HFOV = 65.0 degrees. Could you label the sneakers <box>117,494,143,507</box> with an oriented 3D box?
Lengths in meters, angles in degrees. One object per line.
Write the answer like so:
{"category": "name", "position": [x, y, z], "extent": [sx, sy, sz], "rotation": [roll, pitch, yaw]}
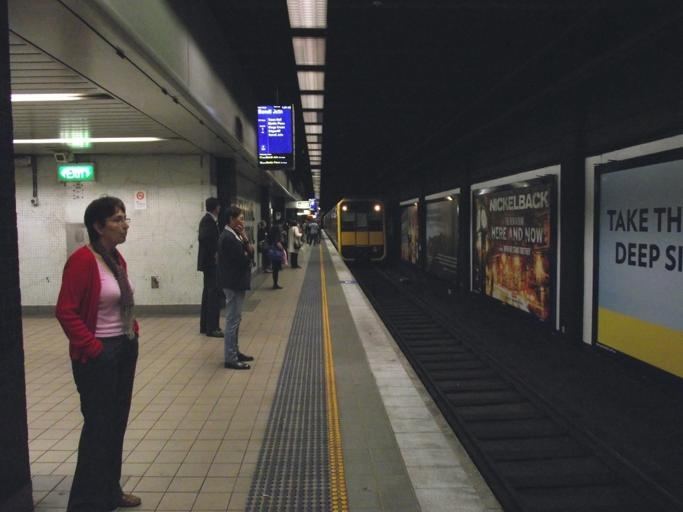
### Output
{"category": "sneakers", "position": [-1.758, 2.055, 4.445], "extent": [0.166, 0.090, 0.081], "rotation": [-1, 5, -10]}

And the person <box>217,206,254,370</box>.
{"category": "person", "position": [-1.343, 0.441, 6.751], "extent": [0.403, 2.077, 0.437], "rotation": [-1, 3, -12]}

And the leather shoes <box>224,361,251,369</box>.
{"category": "leather shoes", "position": [-1.339, 1.426, 6.856], "extent": [0.298, 0.153, 0.132], "rotation": [-1, -2, 3]}
